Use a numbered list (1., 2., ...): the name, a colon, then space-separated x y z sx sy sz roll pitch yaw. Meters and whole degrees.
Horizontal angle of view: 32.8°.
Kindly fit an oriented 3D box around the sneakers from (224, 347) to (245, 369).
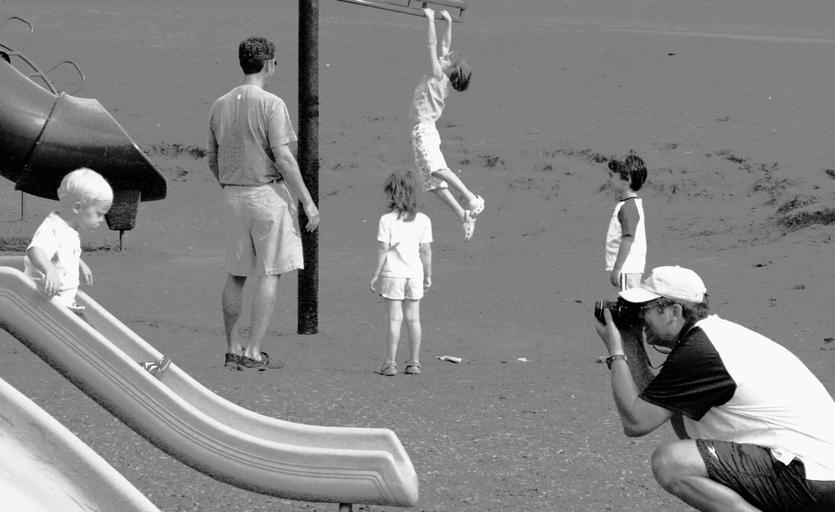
1. sneakers: -1.846 1.064 14.493 0.234 0.178 0.160 2 -6 1

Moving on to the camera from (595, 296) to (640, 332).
1. camera: 1.671 0.487 12.048 0.321 0.199 0.387 3 0 -4

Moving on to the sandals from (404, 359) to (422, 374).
1. sandals: -0.062 1.158 14.742 0.115 0.082 0.187 2 8 0

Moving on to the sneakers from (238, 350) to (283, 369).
1. sneakers: -1.601 1.070 14.561 0.180 0.141 0.454 4 1 43

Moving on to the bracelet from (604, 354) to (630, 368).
1. bracelet: 1.667 0.860 11.968 0.181 0.091 0.176 -19 -31 35

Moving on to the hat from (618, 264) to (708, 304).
1. hat: 2.063 0.221 11.995 0.762 0.244 0.426 0 14 11

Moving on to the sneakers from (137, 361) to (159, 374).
1. sneakers: -2.345 0.971 12.339 0.142 0.084 0.126 -1 9 5

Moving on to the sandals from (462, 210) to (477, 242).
1. sandals: 0.556 -0.328 16.094 0.161 0.373 0.179 -1 9 5
